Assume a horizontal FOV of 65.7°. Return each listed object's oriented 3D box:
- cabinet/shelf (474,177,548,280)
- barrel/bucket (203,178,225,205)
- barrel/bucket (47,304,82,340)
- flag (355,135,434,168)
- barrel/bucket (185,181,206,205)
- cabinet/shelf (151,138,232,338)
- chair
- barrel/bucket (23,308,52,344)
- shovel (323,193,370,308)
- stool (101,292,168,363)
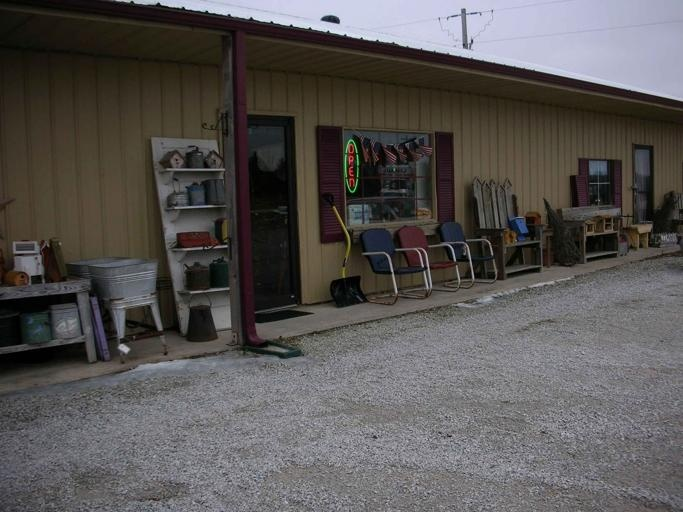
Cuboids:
[{"bbox_3d":[2.986,-0.432,9.474,0.755,2.060,1.659,-2,1,39],"label":"cabinet/shelf"},{"bbox_3d":[-1.461,-0.722,6.181,0.257,0.373,0.255,-2,-1,0],"label":"barrel/bucket"},{"bbox_3d":[-2.512,0.597,4.860,0.247,0.406,0.270,-1,4,0],"label":"barrel/bucket"},{"bbox_3d":[0.800,-1.641,8.205,1.499,0.479,0.115,-11,9,-36],"label":"flag"},{"bbox_3d":[-1.662,-0.701,6.071,0.219,0.269,0.215,-2,-3,0],"label":"barrel/bucket"},{"bbox_3d":[-1.640,-0.210,6.091,0.670,2.095,0.242,-4,14,-12],"label":"cabinet/shelf"},{"bbox_3d":[0.929,0.108,7.750,1.454,1.065,0.865,-11,9,-38],"label":"chair"},{"bbox_3d":[-2.682,0.650,4.824,0.232,0.322,0.249,-2,0,0],"label":"barrel/bucket"},{"bbox_3d":[0.038,-0.101,7.380,0.665,1.553,0.569,-8,7,-29],"label":"shovel"},{"bbox_3d":[-2.054,0.742,5.331,0.510,0.626,0.517,-6,-4,-42],"label":"stool"}]
